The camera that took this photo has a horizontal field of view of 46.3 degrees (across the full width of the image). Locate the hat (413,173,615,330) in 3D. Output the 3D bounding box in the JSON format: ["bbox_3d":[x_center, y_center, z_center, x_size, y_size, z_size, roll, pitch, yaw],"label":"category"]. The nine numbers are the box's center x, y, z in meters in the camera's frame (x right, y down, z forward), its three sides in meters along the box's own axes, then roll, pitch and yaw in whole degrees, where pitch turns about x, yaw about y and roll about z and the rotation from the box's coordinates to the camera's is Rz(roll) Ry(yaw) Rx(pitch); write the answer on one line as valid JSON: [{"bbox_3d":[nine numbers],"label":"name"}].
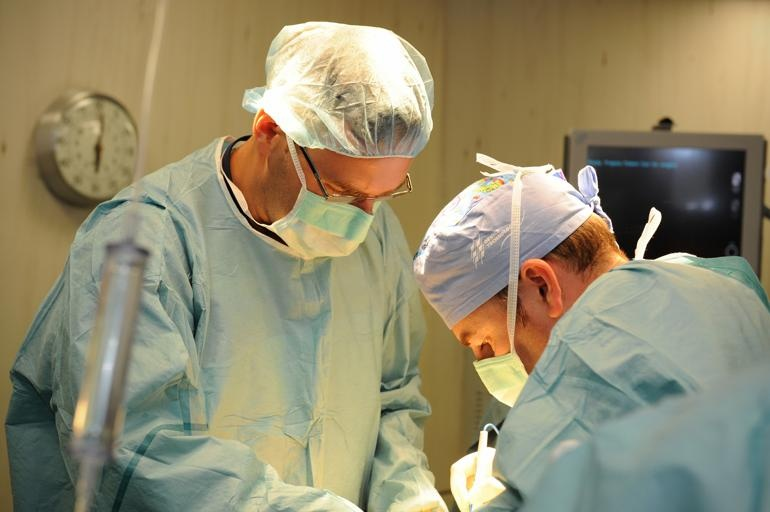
[{"bbox_3d":[0.392,-0.066,2.632,0.516,0.317,0.410,-25,0,11],"label":"hat"}]

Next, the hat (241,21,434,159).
[{"bbox_3d":[-0.130,-0.506,2.662,0.580,0.331,0.491,22,27,34],"label":"hat"}]

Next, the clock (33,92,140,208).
[{"bbox_3d":[-0.988,-0.345,2.932,0.104,0.382,0.347,6,-5,29],"label":"clock"}]
